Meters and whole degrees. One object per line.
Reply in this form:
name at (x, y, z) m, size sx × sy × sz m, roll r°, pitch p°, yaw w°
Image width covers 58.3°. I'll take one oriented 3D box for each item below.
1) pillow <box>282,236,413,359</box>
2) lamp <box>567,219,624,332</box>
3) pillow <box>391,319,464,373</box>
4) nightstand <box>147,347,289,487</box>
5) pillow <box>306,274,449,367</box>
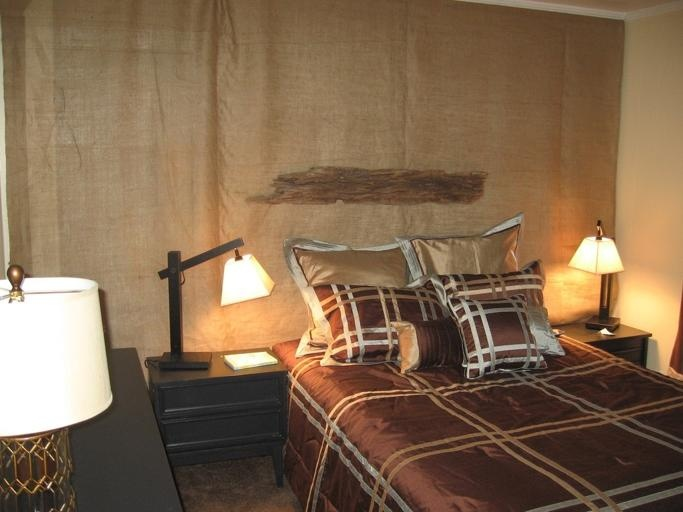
pillow at (-0.026, 0.164, 3.429) m, size 0.691 × 0.681 × 0.204 m, roll 2°, pitch -30°, yaw -19°
lamp at (1.752, 0.120, 4.184) m, size 0.368 × 0.727 × 0.447 m, roll 14°, pitch 16°, yaw 42°
pillow at (0.442, 0.467, 3.128) m, size 0.272 × 0.174 × 0.096 m, roll -2°, pitch -5°, yaw -14°
nightstand at (-0.697, 0.945, 3.347) m, size 0.673 × 0.588 × 0.454 m, roll -1°, pitch -5°, yaw -24°
pillow at (0.142, 0.331, 3.229) m, size 0.723 × 0.399 × 0.199 m, roll -5°, pitch -27°, yaw -6°
